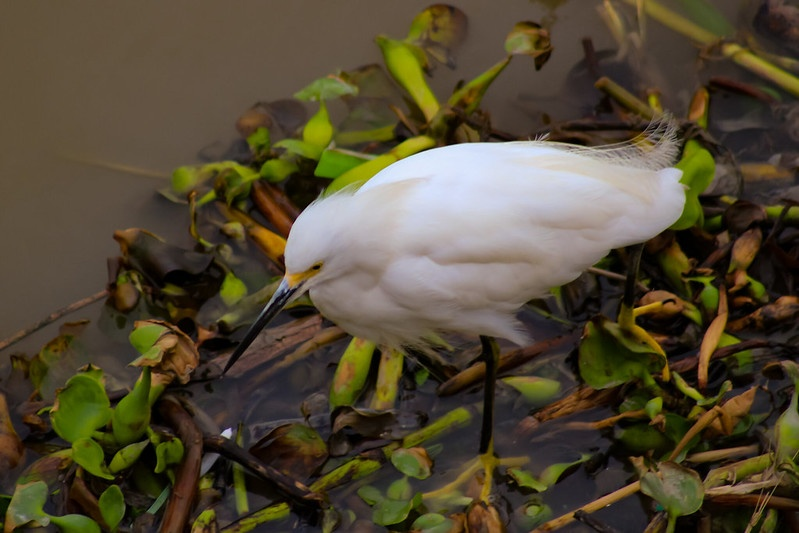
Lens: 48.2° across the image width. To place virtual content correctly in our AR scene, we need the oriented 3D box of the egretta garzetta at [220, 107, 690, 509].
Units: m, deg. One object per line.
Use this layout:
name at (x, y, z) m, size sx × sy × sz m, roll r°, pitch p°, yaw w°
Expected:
egretta garzetta at (0.240, -0.064, 3.220) m, size 1.356 × 1.131 × 0.424 m, roll -34°, pitch -17°, yaw -12°
